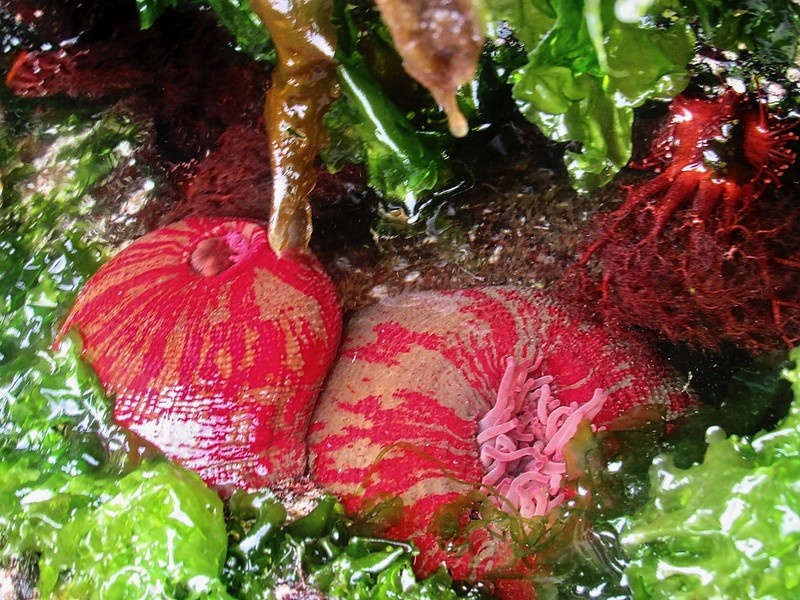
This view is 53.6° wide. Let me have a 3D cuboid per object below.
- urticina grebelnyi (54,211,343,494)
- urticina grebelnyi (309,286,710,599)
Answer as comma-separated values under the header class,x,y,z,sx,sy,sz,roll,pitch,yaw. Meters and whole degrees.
class,x,y,z,sx,sy,sz,roll,pitch,yaw
urticina grebelnyi,-0.306,0.028,1.437,0.517,0.297,0.572,2,49,1
urticina grebelnyi,0.134,0.190,1.294,0.543,0.387,0.377,-28,22,-21
